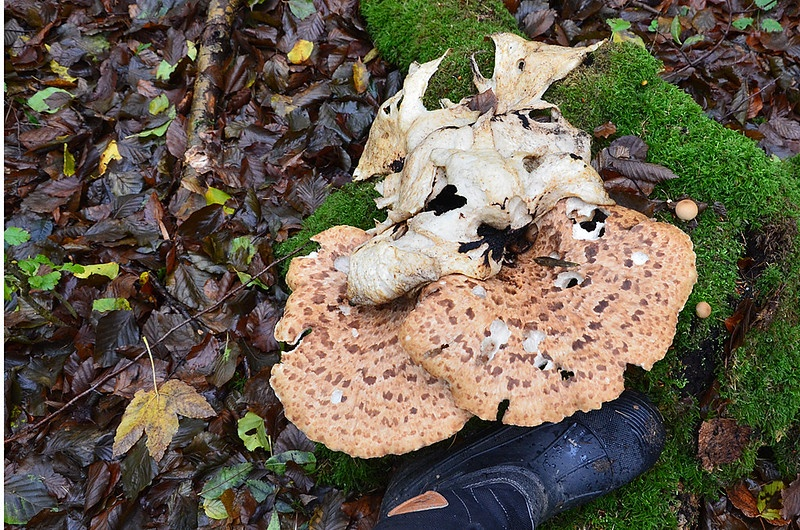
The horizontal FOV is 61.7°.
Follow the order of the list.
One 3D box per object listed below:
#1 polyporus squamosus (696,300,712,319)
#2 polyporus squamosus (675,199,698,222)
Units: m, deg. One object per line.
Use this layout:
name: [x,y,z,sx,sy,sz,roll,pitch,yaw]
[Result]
polyporus squamosus: [2.341,0.343,5.159,0.119,0.064,0.118,24,81,-3]
polyporus squamosus: [2.249,-0.428,5.279,0.163,0.102,0.166,21,86,9]
